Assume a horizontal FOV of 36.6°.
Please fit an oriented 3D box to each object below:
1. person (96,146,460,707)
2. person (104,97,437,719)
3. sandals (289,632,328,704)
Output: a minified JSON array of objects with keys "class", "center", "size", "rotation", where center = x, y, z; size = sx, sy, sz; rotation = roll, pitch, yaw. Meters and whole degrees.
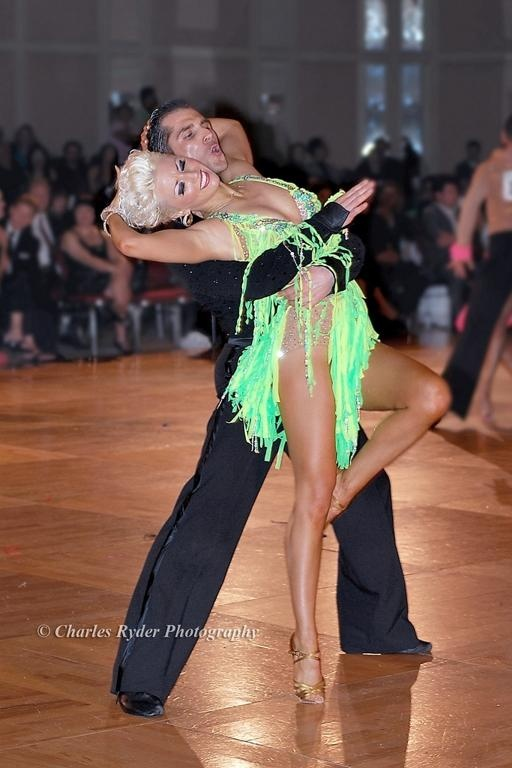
[{"class":"person","center":[0.058,0.070,1.825],"size":[0.814,1.201,0.530],"rotation":[-2,11,-10]},{"class":"person","center":[0.006,0.090,1.934],"size":[0.928,1.334,0.652],"rotation":[-10,12,-22]},{"class":"sandals","center":[0.127,0.646,1.756],"size":[0.049,0.126,0.052],"rotation":[-2,-38,-3]}]
